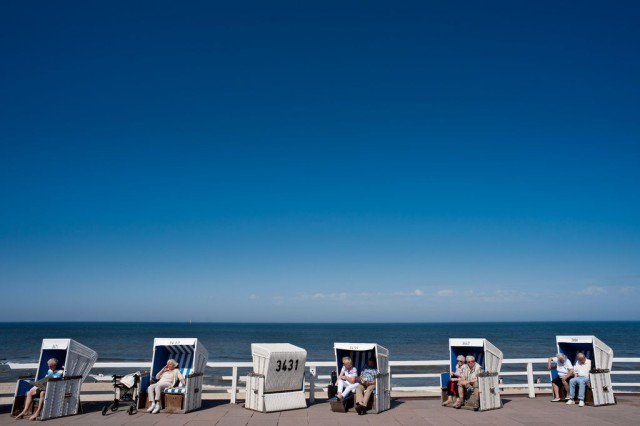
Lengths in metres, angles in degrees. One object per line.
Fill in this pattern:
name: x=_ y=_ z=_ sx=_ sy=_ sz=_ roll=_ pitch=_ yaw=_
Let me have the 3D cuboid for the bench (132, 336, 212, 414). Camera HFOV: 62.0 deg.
bench: x=-5.183 y=6.144 z=20.443 sx=3.048 sy=2.889 sz=2.950 roll=-2 pitch=-17 yaw=5

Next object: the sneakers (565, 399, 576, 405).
sneakers: x=9.455 y=7.093 z=19.988 sx=0.425 sy=0.122 sz=0.118 roll=4 pitch=-40 yaw=4

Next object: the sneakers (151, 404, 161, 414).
sneakers: x=-5.888 y=6.897 z=18.894 sx=0.275 sy=0.347 sz=0.116 roll=6 pitch=-17 yaw=-12

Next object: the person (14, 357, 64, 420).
person: x=-9.756 y=6.085 z=18.522 sx=1.253 sy=1.970 sz=0.943 roll=-10 pitch=-21 yaw=37

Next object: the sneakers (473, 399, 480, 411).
sneakers: x=5.705 y=6.974 z=19.367 sx=0.147 sy=0.357 sz=0.205 roll=7 pitch=-17 yaw=-13

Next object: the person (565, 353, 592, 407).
person: x=9.820 y=6.255 z=20.105 sx=0.965 sy=1.894 sz=0.572 roll=-3 pitch=-18 yaw=18

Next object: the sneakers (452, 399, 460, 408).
sneakers: x=5.081 y=7.023 z=19.684 sx=0.305 sy=0.333 sz=0.153 roll=-3 pitch=-17 yaw=19

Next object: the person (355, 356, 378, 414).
person: x=1.682 y=6.259 z=19.484 sx=0.777 sy=1.947 sz=0.571 roll=1 pitch=-17 yaw=4

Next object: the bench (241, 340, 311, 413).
bench: x=-1.694 y=6.008 z=19.564 sx=1.915 sy=2.346 sz=1.120 roll=15 pitch=-21 yaw=-39

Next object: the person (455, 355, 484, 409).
person: x=5.599 y=6.253 z=19.728 sx=0.996 sy=1.892 sz=0.490 roll=-13 pitch=-23 yaw=43
